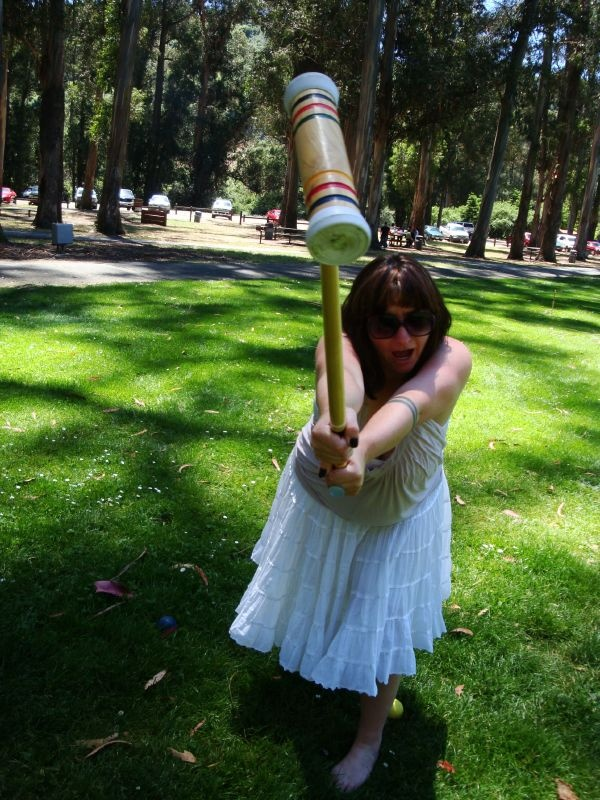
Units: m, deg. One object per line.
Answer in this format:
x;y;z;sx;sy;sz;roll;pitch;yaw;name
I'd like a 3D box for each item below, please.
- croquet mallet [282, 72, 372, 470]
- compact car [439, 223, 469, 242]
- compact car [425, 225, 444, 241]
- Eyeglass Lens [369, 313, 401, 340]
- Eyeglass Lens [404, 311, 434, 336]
0.040;-0.220;0.914;0.101;0.558;0.087;-4;-4;10;croquet mallet
12.527;-13.941;53.598;1.355;1.400;3.539;-1;16;-5;compact car
10.411;-13.039;50.504;1.291;1.299;3.397;8;11;13;compact car
0.229;-0.200;1.771;0.067;0.073;0.031;0;18;12;Eyeglass Lens
0.322;-0.210;1.765;0.066;0.071;0.030;0;12;3;Eyeglass Lens
